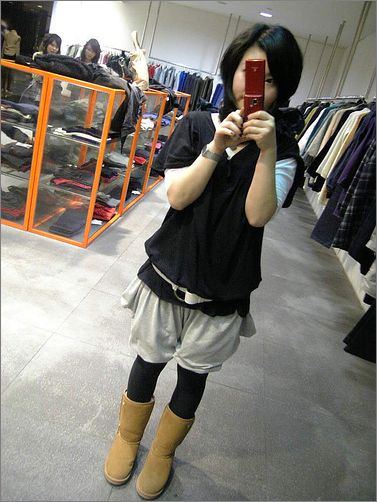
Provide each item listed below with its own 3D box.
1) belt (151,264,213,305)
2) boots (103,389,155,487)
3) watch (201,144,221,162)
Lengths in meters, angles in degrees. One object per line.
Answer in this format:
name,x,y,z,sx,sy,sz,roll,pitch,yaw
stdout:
belt,-0.014,0.080,0.713,0.098,0.026,0.074,35,23,9
boots,-0.185,0.558,0.977,0.082,0.183,0.247,14,6,4
watch,0.035,-0.170,0.570,0.032,0.022,0.036,21,21,-18
